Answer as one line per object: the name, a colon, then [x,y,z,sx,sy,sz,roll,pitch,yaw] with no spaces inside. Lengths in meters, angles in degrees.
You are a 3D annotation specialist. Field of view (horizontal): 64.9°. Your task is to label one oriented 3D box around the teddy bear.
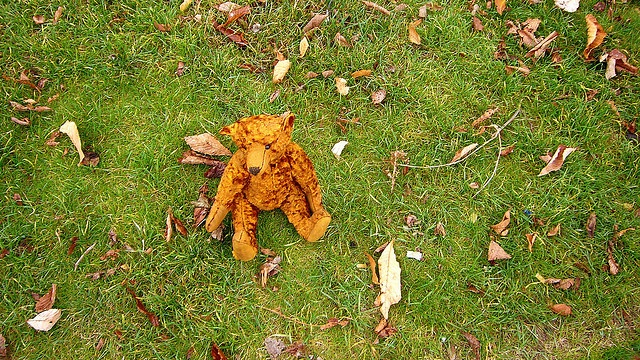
teddy bear: [-0.581,0.069,4.783,1.146,0.789,1.240,-13,86,-1]
